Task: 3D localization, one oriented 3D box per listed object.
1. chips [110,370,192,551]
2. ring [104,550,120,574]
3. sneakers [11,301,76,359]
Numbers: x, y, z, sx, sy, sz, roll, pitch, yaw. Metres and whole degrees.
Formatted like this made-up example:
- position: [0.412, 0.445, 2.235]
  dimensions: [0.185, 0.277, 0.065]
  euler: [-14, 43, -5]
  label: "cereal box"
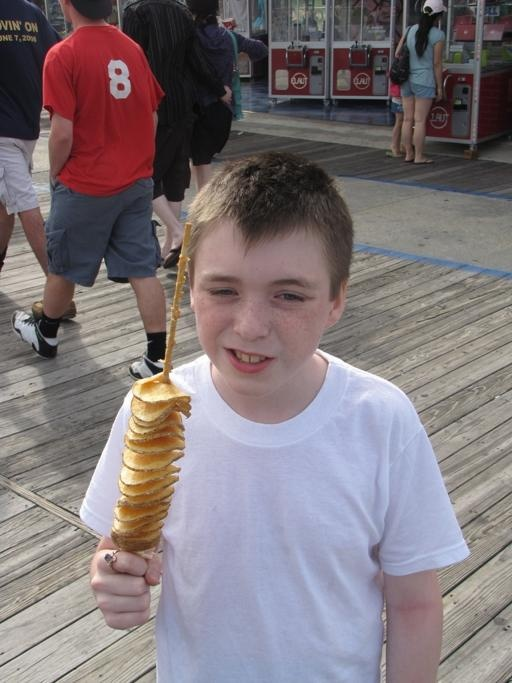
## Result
- position: [-0.148, 0.194, 0.910]
  dimensions: [0.105, 0.292, 0.145]
  euler: [4, 23, 9]
  label: "chips"
- position: [-0.212, 0.328, 0.922]
  dimensions: [0.030, 0.027, 0.011]
  euler: [-12, -23, 39]
  label: "ring"
- position: [-1.494, -0.162, 4.255]
  dimensions: [0.229, 0.268, 0.640]
  euler: [-6, 40, -42]
  label: "sneakers"
